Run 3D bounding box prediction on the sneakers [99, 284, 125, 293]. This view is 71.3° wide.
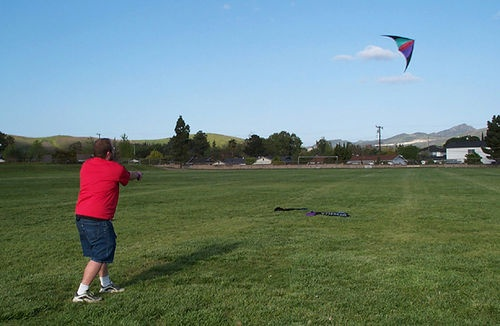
[{"bbox_3d":[-2.635,2.399,6.736,0.445,0.197,0.166,3,-5,-3],"label":"sneakers"}]

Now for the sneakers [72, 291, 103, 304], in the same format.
[{"bbox_3d":[-2.968,2.457,6.461,0.554,0.248,0.205,2,-3,-8],"label":"sneakers"}]

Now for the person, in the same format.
[{"bbox_3d":[-2.839,1.013,6.613,1.055,2.963,1.513,-3,5,-26],"label":"person"}]
